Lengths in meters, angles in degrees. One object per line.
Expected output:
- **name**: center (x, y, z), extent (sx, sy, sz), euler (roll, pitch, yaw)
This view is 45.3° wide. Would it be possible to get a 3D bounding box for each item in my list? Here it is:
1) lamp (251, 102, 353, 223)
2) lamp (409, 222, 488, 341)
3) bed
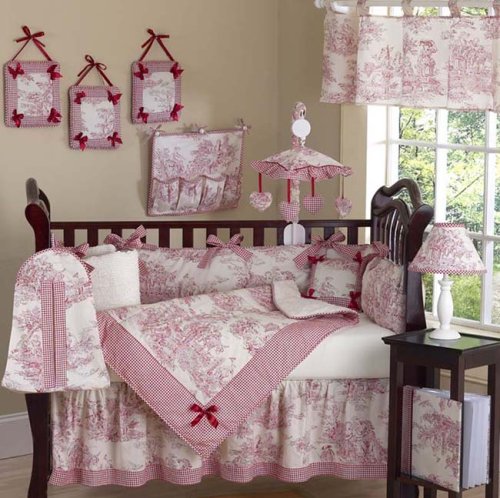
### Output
- **lamp**: center (0.233, -0.425, 2.816), extent (0.530, 0.533, 0.547), euler (-7, 11, -44)
- **lamp**: center (0.651, 0.100, 1.985), extent (0.229, 0.386, 0.230), euler (-1, 8, 13)
- **bed**: center (-0.078, 0.367, 2.296), extent (1.637, 1.020, 0.592), euler (-1, 1, -18)
